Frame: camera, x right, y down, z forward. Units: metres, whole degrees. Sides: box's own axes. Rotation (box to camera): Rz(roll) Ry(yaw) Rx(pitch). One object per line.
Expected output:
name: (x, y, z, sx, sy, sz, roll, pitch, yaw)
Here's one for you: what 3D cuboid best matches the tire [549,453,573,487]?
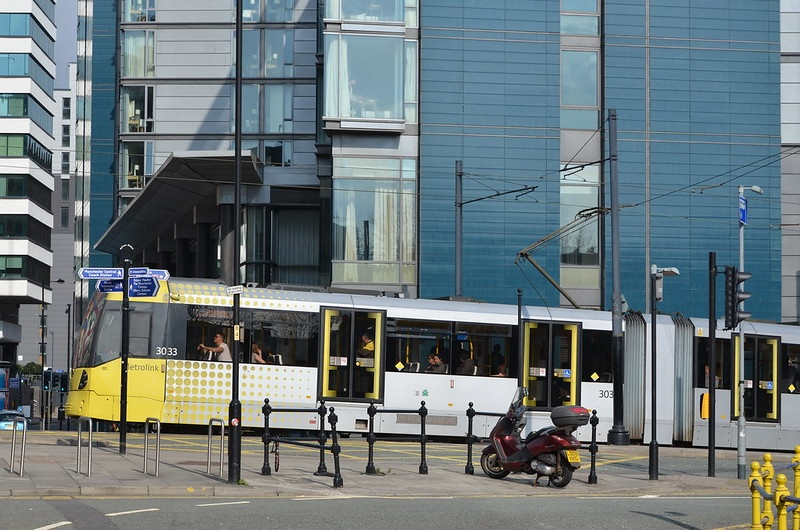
tire: (5.494, 6.965, 57.782, 0.815, 1.153, 0.479, -1, -7, 11)
